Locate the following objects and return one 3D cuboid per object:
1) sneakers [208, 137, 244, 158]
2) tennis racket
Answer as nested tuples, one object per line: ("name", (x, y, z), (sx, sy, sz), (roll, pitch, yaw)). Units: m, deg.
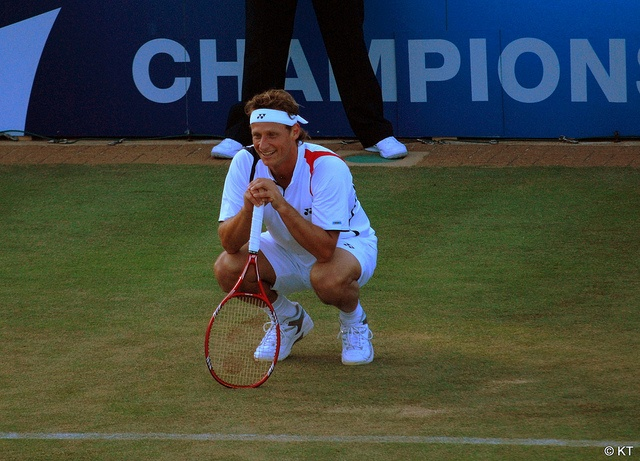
("sneakers", (-1.073, -0.912, 9.386), (0.324, 0.180, 0.456), (0, 8, -6))
("tennis racket", (-0.489, 0.385, 4.998), (0.441, 0.978, 0.662), (-4, 21, -5))
